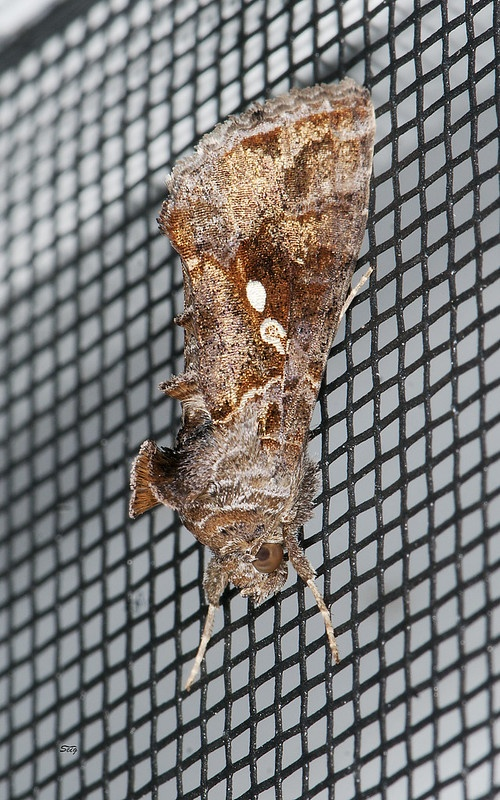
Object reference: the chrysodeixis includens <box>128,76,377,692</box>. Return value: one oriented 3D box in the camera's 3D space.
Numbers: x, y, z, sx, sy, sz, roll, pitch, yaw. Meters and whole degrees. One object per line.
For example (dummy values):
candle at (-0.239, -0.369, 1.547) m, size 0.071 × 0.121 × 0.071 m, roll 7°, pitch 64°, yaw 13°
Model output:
chrysodeixis includens at (0.007, -0.123, 3.989) m, size 0.485 × 0.166 × 1.175 m, roll 7°, pitch 84°, yaw 4°
